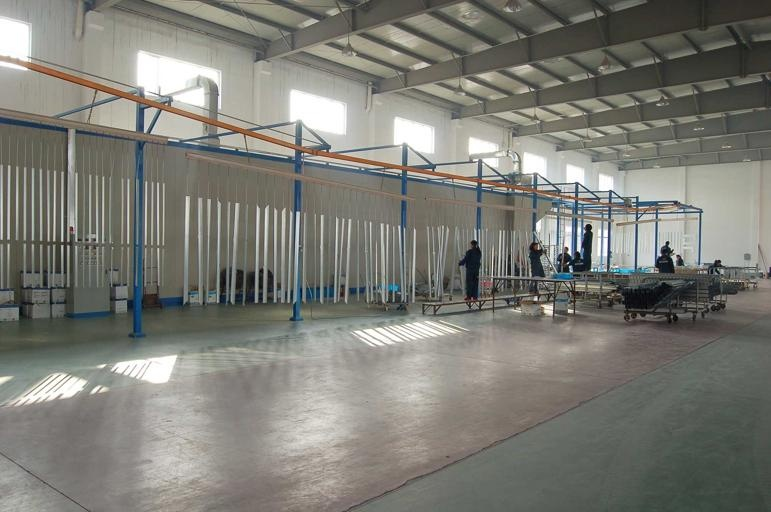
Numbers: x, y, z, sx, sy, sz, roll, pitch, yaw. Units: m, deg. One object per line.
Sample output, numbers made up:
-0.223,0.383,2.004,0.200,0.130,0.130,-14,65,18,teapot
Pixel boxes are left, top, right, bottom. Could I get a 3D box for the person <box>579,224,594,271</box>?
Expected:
6.874,-0.255,20.162,0.298,1.601,0.840,4,10,15,person
